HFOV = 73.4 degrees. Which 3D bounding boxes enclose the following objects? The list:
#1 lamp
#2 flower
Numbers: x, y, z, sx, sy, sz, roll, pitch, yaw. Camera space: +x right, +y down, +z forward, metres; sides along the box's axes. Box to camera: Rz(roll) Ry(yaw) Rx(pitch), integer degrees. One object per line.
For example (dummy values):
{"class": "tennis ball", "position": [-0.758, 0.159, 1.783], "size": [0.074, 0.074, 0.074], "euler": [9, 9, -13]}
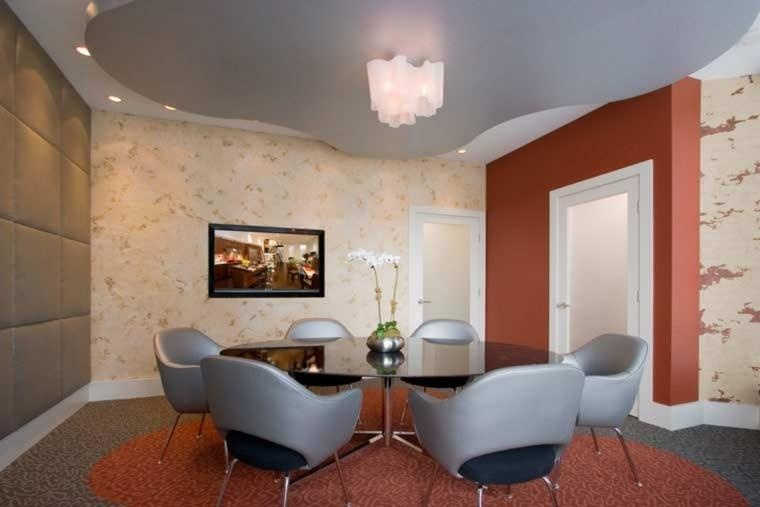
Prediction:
{"class": "lamp", "position": [0.214, -1.355, 4.268], "size": [0.631, 0.482, 0.309], "euler": [1, -4, 2]}
{"class": "flower", "position": [-0.020, 0.390, 4.683], "size": [0.540, 0.830, 0.414], "euler": [-2, -4, 24]}
